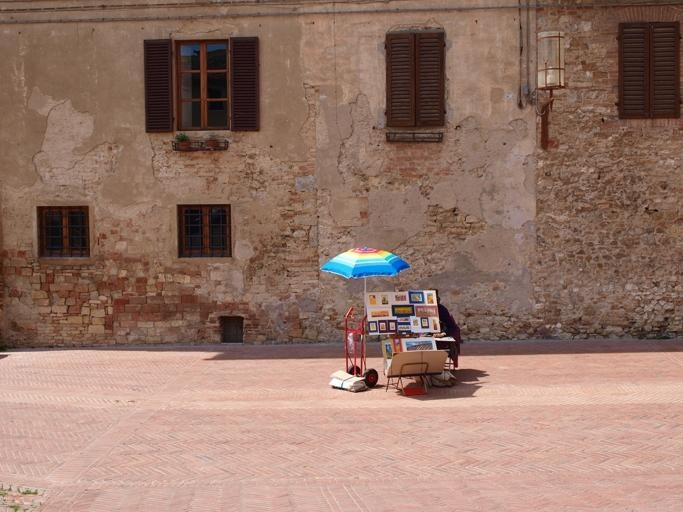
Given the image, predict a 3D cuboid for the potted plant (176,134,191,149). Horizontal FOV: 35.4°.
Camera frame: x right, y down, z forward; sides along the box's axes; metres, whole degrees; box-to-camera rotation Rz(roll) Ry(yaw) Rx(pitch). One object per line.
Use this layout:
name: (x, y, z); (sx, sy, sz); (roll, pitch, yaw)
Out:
potted plant: (-3.156, -2.226, 21.218); (0.355, 0.309, 0.301); (-1, -2, -3)

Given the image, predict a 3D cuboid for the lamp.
lamp: (4.119, -3.233, 21.029); (0.531, 2.285, 0.442); (1, 13, 10)

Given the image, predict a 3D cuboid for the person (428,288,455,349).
person: (1.791, 1.075, 18.667); (0.370, 0.997, 0.742); (0, 13, 5)
